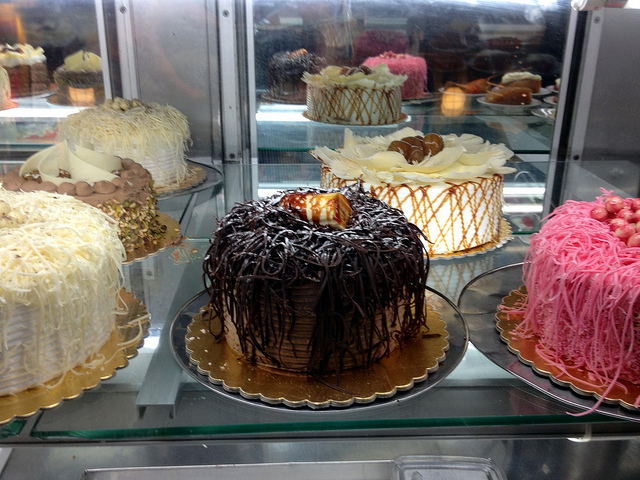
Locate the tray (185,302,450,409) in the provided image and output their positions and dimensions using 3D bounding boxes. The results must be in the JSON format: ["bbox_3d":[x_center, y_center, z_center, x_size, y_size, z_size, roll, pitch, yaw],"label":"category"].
[{"bbox_3d":[-0.017,0.194,0.820,0.463,0.019,0.221,1,24,5],"label":"tray"}]

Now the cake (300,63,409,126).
[{"bbox_3d":[0.087,-0.501,1.781,0.386,0.184,0.261,4,26,12],"label":"cake"}]

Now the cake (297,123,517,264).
[{"bbox_3d":[0.259,-0.133,1.224,0.483,0.195,0.424,-1,13,-2],"label":"cake"}]

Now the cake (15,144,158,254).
[{"bbox_3d":[-0.543,-0.103,1.340,0.340,0.196,0.364,29,13,37],"label":"cake"}]

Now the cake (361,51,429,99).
[{"bbox_3d":[0.317,-0.652,1.982,0.222,0.111,0.197,0,15,1],"label":"cake"}]

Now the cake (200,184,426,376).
[{"bbox_3d":[-0.005,0.037,0.762,0.366,0.196,0.331,0,21,0],"label":"cake"}]

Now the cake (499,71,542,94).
[{"bbox_3d":[0.783,-0.608,1.959,0.098,0.037,0.117,-6,12,-34],"label":"cake"}]

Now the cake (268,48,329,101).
[{"bbox_3d":[-0.106,-0.614,1.882,0.214,0.128,0.210,11,20,30],"label":"cake"}]

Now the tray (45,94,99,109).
[{"bbox_3d":[-0.920,-0.516,1.853,0.247,0.028,0.134,1,6,-17],"label":"tray"}]

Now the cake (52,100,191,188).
[{"bbox_3d":[-0.560,-0.290,1.473,0.388,0.198,0.350,-6,18,-25],"label":"cake"}]
